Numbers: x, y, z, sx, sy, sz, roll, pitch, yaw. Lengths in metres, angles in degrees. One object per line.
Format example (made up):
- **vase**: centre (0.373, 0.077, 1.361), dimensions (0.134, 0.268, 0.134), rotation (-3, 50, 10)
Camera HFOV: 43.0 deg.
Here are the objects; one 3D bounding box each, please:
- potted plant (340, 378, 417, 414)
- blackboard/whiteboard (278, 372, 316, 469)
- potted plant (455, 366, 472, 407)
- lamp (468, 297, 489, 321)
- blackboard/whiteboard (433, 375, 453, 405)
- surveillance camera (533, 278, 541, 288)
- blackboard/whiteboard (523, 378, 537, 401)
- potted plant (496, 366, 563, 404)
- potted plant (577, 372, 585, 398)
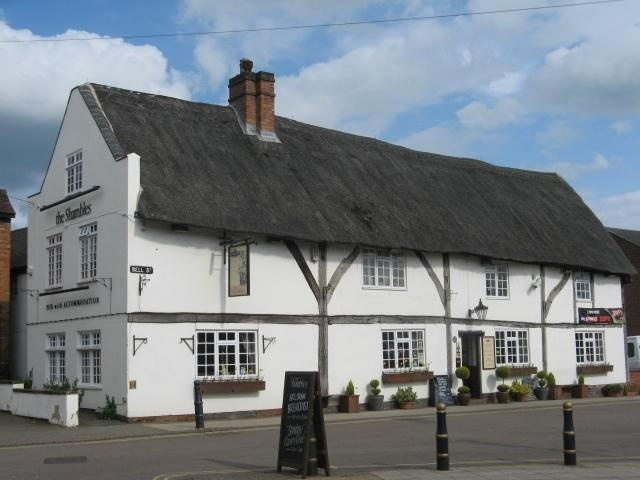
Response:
- **potted plant**: centre (1.998, 5.588, 29.191), dimensions (2.960, 1.114, 0.527), rotation (4, -14, -28)
- **blackboard/whiteboard**: centre (-0.537, 4.042, 17.980), dimensions (0.986, 2.242, 0.393), rotation (-13, -16, 39)
- **potted plant**: centre (5.501, 5.653, 31.369), dimensions (0.553, 1.474, 1.248), rotation (-5, -13, 9)
- **lamp**: centre (6.321, 2.814, 32.558), dimensions (0.760, 1.164, 0.774), rotation (2, -5, 13)
- **blackboard/whiteboard**: centre (4.607, 5.618, 30.541), dimensions (0.935, 1.120, 0.461), rotation (8, -16, -41)
- **surveillance camera**: centre (9.055, 1.796, 34.154), dimensions (0.531, 0.476, 0.160), rotation (7, -16, -37)
- **blackboard/whiteboard**: centre (8.413, 6.057, 32.840), dimensions (0.727, 0.859, 0.061), rotation (11, -15, -39)
- **potted plant**: centre (8.622, 5.862, 33.030), dimensions (3.672, 1.476, 1.101), rotation (7, -12, -29)
- **potted plant**: centre (11.051, 6.210, 34.529), dimensions (0.388, 0.952, 0.237), rotation (-2, -12, -3)
